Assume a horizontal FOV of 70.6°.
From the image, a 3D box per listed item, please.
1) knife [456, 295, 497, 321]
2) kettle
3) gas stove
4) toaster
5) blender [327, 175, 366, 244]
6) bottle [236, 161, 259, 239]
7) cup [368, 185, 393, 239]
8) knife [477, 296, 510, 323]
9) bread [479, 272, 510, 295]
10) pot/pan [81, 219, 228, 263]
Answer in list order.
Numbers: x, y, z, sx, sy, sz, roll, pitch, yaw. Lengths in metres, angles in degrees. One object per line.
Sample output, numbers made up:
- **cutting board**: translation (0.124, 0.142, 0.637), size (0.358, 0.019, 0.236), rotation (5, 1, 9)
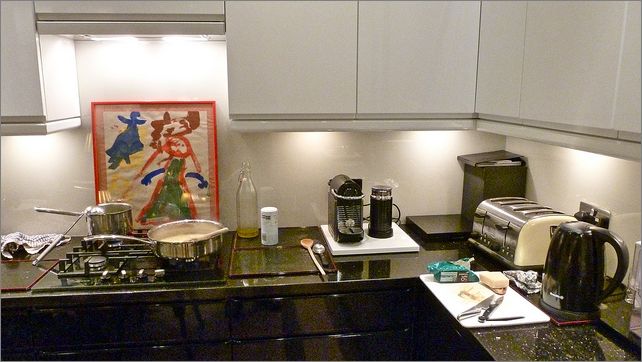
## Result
- **knife**: translation (0.871, 0.695, 2.512), size (0.403, 0.028, 0.077), rotation (-19, 20, -39)
- **kettle**: translation (1.404, 0.484, 2.455), size (0.391, 0.501, 0.206), rotation (-1, 16, 8)
- **gas stove**: translation (-1.131, 0.491, 2.815), size (1.109, 0.215, 0.449), rotation (-4, 15, -4)
- **toaster**: translation (1.286, 0.282, 2.897), size (0.469, 0.329, 0.525), rotation (-1, 14, -19)
- **blender**: translation (0.180, 0.185, 3.023), size (0.209, 0.423, 0.216), rotation (-2, 16, 7)
- **bottle**: translation (-0.508, 0.118, 3.176), size (0.136, 0.545, 0.122), rotation (1, 3, -3)
- **cup**: translation (0.402, 0.207, 3.072), size (0.168, 0.344, 0.121), rotation (-2, 16, 5)
- **knife**: translation (0.937, 0.701, 2.503), size (0.066, 0.019, 0.373), rotation (8, 21, 35)
- **bread**: translation (1.004, 0.591, 2.640), size (0.134, 0.045, 0.132), rotation (2, 17, -11)
- **pot/pan**: translation (-0.955, 0.365, 2.806), size (0.657, 0.098, 0.367), rotation (-3, 12, -19)
